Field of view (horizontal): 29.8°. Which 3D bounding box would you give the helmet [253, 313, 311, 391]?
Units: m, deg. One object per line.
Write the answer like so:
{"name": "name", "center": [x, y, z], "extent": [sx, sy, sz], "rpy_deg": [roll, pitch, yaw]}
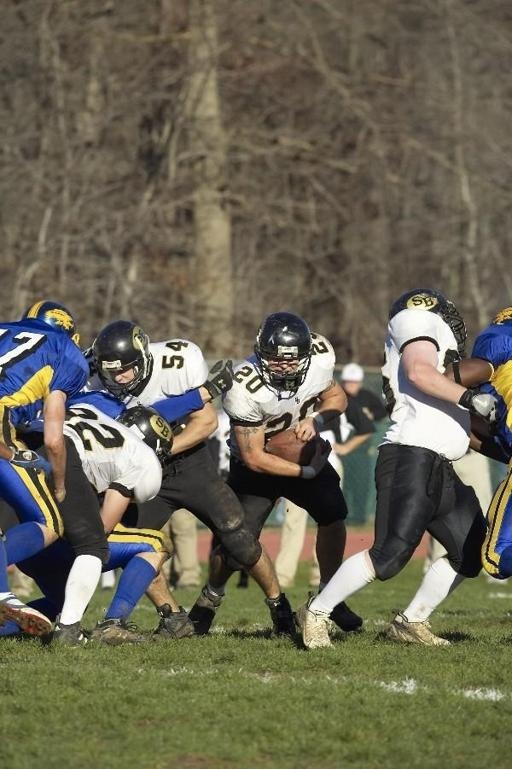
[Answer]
{"name": "helmet", "center": [0.126, -0.163, 4.611], "extent": [0.296, 0.312, 0.338], "rpy_deg": [3, 22, 2]}

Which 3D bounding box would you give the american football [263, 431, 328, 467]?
{"name": "american football", "center": [0.198, 0.317, 4.775], "extent": [0.277, 0.140, 0.156], "rpy_deg": [8, 19, -13]}

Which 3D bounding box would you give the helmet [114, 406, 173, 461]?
{"name": "helmet", "center": [-0.511, 0.231, 4.438], "extent": [0.249, 0.249, 0.179], "rpy_deg": [1, 2, -8]}

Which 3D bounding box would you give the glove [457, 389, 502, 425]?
{"name": "glove", "center": [0.904, 0.086, 3.939], "extent": [0.077, 0.092, 0.175], "rpy_deg": [-17, 29, -41]}

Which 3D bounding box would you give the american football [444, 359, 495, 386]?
{"name": "american football", "center": [0.920, -0.051, 4.147], "extent": [0.215, 0.093, 0.080], "rpy_deg": [-6, -17, -9]}

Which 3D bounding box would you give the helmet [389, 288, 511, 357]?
{"name": "helmet", "center": [0.786, -0.274, 4.358], "extent": [0.357, 0.314, 0.309], "rpy_deg": [1, 2, 2]}

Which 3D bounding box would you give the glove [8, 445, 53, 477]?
{"name": "glove", "center": [-0.921, 0.305, 3.942], "extent": [0.166, 0.079, 0.048], "rpy_deg": [22, -37, -28]}

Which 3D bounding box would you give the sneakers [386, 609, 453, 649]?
{"name": "sneakers", "center": [0.708, 1.104, 4.347], "extent": [0.330, 0.134, 0.107], "rpy_deg": [8, -2, 7]}

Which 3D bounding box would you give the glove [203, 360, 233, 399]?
{"name": "glove", "center": [-0.185, -0.028, 4.856], "extent": [0.218, 0.083, 0.151], "rpy_deg": [-27, 14, 41]}

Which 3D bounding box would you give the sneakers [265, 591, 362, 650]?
{"name": "sneakers", "center": [0.333, 1.097, 4.474], "extent": [0.597, 0.167, 0.258], "rpy_deg": [13, -15, -33]}

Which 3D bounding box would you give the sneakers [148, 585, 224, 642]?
{"name": "sneakers", "center": [-0.365, 1.137, 4.705], "extent": [0.149, 0.229, 0.415], "rpy_deg": [2, 6, -31]}
